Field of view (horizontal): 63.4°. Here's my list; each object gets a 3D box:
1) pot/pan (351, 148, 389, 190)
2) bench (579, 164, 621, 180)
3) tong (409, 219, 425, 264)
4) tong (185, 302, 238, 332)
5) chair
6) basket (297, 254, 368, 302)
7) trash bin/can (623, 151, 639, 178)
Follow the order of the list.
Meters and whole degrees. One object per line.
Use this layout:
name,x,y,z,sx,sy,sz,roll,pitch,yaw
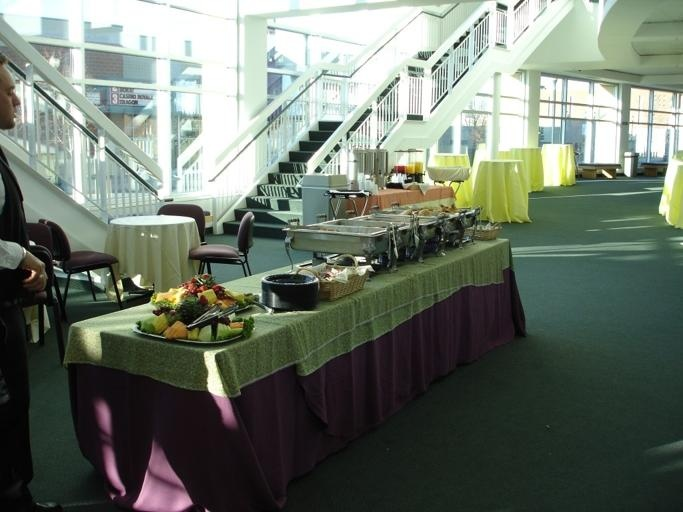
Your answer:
pot/pan,0.413,-1.149,6.784,0.363,0.383,0.344,-19,27,-19
bench,9.474,-3.170,20.653,1.628,0.500,1.070,-7,14,-30
tong,0.485,-0.117,3.615,0.094,0.301,0.130,1,9,22
tong,-0.538,0.231,2.302,0.076,0.040,0.204,12,23,21
chair,-1.589,0.295,5.228,1.314,0.767,1.413,2,8,17
basket,-0.007,0.111,2.954,0.211,0.151,0.348,8,17,27
trash bin/can,11.214,-3.574,21.608,0.477,0.912,0.899,6,13,25
